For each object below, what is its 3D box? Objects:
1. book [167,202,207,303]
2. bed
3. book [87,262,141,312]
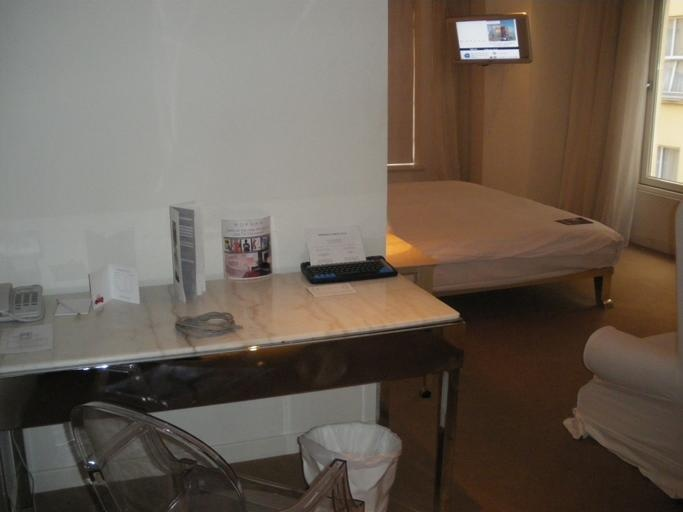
[{"bbox_3d":[-0.528,-0.011,1.798,0.124,0.383,0.268,-6,11,-26],"label":"book"},{"bbox_3d":[0.982,-0.123,3.436,0.989,0.438,1.038,-7,19,-14],"label":"bed"},{"bbox_3d":[-0.755,0.088,1.795,0.127,0.179,0.184,6,10,39],"label":"book"}]
